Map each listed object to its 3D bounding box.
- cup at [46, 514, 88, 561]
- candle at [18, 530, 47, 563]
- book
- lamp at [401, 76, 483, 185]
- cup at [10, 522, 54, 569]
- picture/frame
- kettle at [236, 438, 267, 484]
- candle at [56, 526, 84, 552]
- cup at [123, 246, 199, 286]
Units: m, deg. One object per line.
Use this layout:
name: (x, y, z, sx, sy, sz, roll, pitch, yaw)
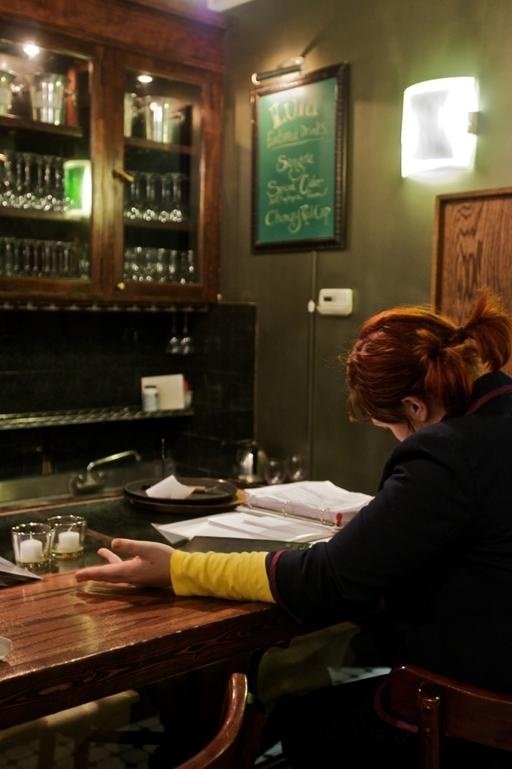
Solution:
cup: (-0.372, 0.301, 1.254, 0.072, 0.074, 0.076, -1, -1, 0)
candle: (-0.417, 0.304, 1.219, 0.053, 0.060, 0.053, 5, 9, 22)
book: (0.133, 0.285, 1.556, 0.197, 0.056, 0.195, -5, 7, -14)
lamp: (0.602, -0.870, 2.195, 0.122, 0.318, 0.319, -6, 8, -33)
cup: (-0.417, 0.303, 1.209, 0.077, 0.072, 0.072, 0, 7, 0)
picture/frame: (0.177, -0.948, 2.740, 0.045, 0.744, 0.558, -8, 9, -43)
kettle: (-0.001, 0.339, 2.737, 0.117, 0.153, 0.159, 0, -6, 4)
candle: (-0.367, 0.298, 1.250, 0.047, 0.052, 0.046, 2, 1, -31)
cup: (-0.419, -0.480, 2.671, 0.154, 0.078, 0.222, 4, 2, 37)
